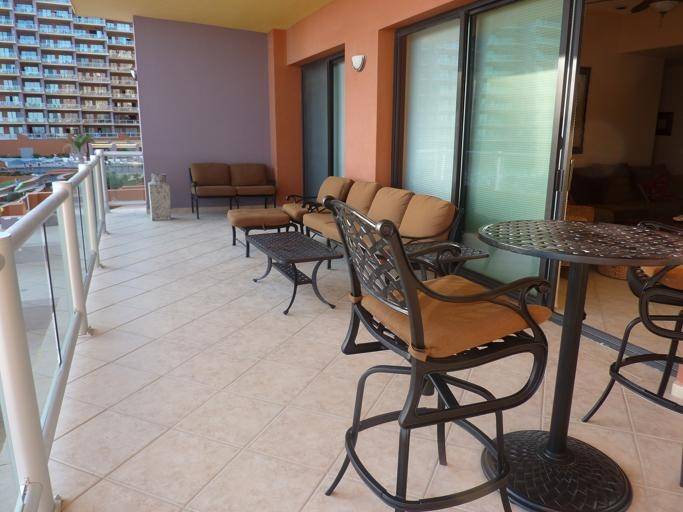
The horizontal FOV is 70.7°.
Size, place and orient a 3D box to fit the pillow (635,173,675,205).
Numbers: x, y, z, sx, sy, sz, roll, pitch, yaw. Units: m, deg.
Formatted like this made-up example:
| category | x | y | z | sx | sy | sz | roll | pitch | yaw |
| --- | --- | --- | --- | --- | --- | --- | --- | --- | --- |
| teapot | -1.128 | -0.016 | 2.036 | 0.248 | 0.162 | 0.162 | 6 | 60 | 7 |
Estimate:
| category | x | y | z | sx | sy | sz | roll | pitch | yaw |
| --- | --- | --- | --- | --- | --- | --- | --- | --- | --- |
| pillow | 4.383 | -0.934 | 6.606 | 0.510 | 0.351 | 0.518 | -2 | 15 | -6 |

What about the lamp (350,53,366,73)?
| category | x | y | z | sx | sy | sz | roll | pitch | yaw |
| --- | --- | --- | --- | --- | --- | --- | --- | --- | --- |
| lamp | 0.216 | -2.371 | 5.905 | 0.061 | 0.195 | 0.241 | -19 | 25 | -41 |

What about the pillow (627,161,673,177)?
| category | x | y | z | sx | sy | sz | roll | pitch | yaw |
| --- | --- | --- | --- | --- | --- | --- | --- | --- | --- |
| pillow | 4.387 | -1.229 | 6.941 | 0.598 | 0.122 | 0.306 | 1 | 20 | 1 |
